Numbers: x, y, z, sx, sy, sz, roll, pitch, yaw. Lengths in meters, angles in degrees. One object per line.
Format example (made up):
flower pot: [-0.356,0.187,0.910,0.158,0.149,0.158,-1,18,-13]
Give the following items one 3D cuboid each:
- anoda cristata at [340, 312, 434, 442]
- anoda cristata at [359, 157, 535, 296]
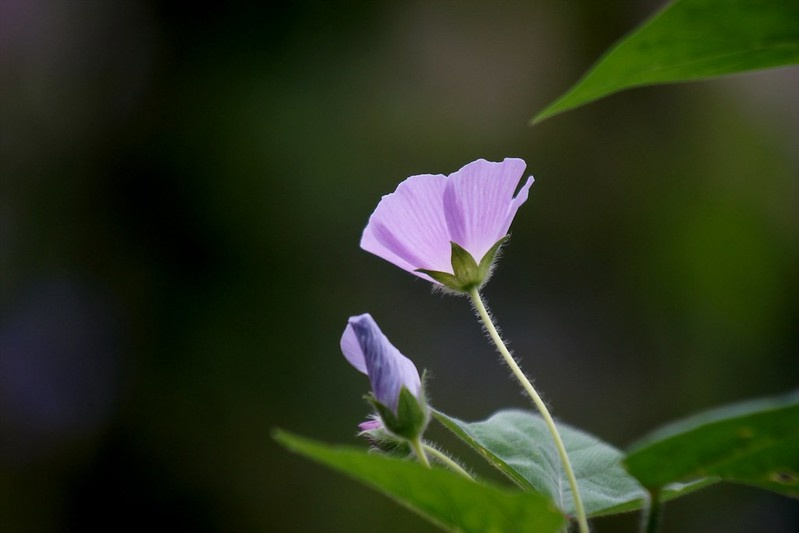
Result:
anoda cristata: [-0.024,0.225,1.513,0.150,0.276,0.133,-35,5,16]
anoda cristata: [0.092,-0.102,1.584,0.291,0.328,0.334,-2,-1,-25]
